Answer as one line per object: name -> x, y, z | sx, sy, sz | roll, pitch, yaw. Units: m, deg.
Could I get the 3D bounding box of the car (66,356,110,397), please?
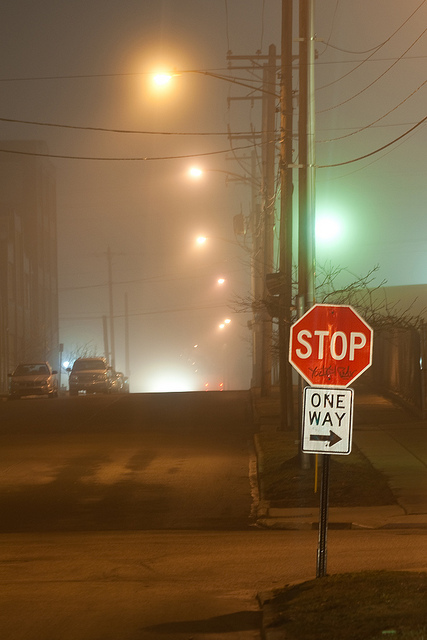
car -> -6.729, 3.114, 36.744 | 2.180, 1.642, 2.072 | -4, 2, -9

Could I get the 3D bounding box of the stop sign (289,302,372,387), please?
stop sign -> 0.925, 0.192, 5.248 | 0.734, 0.647, 0.069 | 1, -1, 40

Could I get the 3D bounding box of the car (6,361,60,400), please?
car -> -8.883, 2.922, 33.768 | 2.450, 1.729, 2.896 | 0, -1, -9
